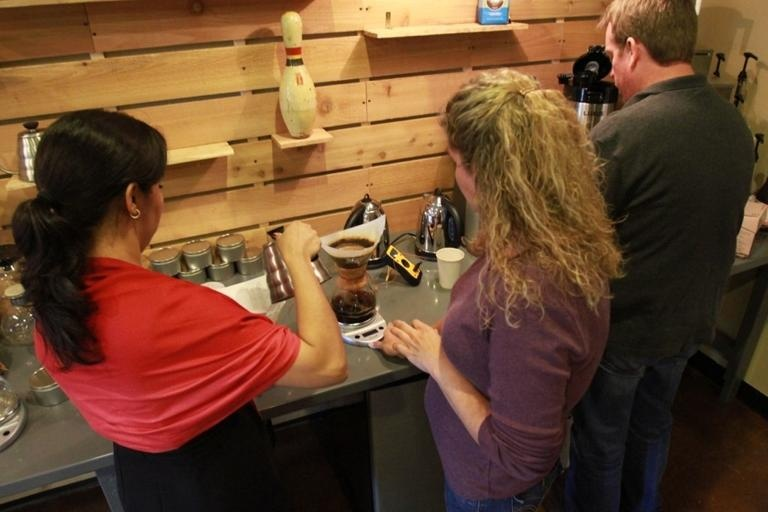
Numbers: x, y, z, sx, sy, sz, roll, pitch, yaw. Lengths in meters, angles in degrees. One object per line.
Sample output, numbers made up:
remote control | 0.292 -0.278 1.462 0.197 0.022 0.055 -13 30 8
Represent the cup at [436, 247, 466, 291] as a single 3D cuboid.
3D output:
cup | 0.286 0.057 2.702 0.169 0.168 0.169 2 14 -1
